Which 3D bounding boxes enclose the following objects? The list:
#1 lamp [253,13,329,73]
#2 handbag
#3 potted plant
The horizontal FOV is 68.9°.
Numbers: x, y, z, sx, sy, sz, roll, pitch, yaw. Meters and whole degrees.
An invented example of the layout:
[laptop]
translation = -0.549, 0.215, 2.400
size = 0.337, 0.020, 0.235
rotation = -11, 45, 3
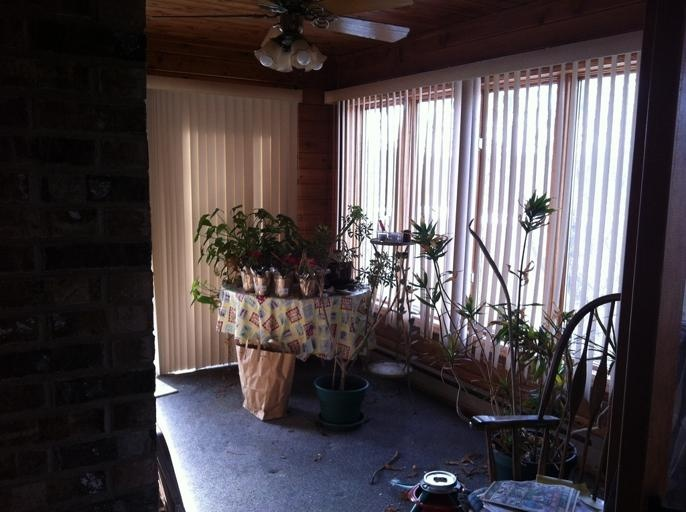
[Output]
[lamp]
translation = -0.257, -1.166, 2.625
size = 0.275, 0.368, 0.289
rotation = 22, 20, 17
[handbag]
translation = -0.603, 0.924, 3.889
size = 0.592, 0.669, 0.286
rotation = 4, 7, 25
[potted plant]
translation = 0.337, 0.425, 3.634
size = 1.573, 1.813, 3.233
rotation = -9, 13, -43
